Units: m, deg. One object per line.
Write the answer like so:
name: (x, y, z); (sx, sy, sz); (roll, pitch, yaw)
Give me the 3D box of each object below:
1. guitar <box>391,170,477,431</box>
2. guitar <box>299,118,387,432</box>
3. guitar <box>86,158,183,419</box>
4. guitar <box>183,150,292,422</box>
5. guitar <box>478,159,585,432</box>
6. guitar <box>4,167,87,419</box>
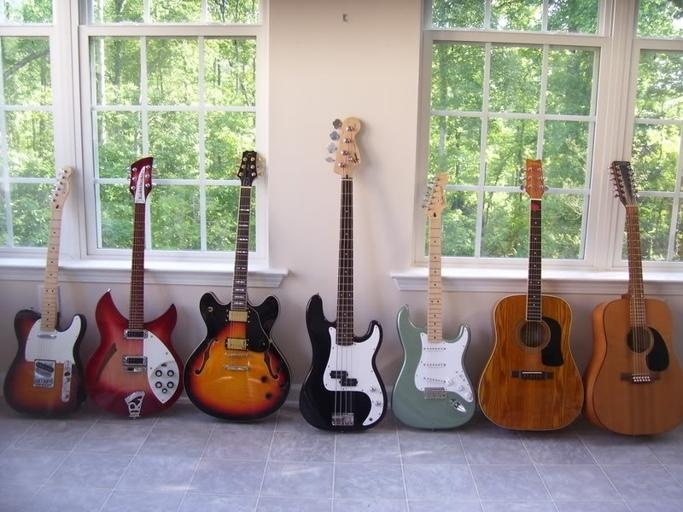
guitar: (0.524, 0.246, 3.698); (0.451, 1.384, 0.315); (1, 9, 9)
guitar: (-0.003, 0.096, 3.699); (0.473, 1.701, 0.387); (-1, 9, -4)
guitar: (-1.195, 0.177, 3.749); (0.524, 1.441, 0.361); (-3, 9, -18)
guitar: (-0.591, 0.164, 3.723); (0.583, 1.474, 0.316); (-1, 9, -6)
guitar: (1.054, 0.220, 3.581); (0.492, 1.446, 0.410); (-8, 12, -44)
guitar: (-1.652, 0.214, 3.683); (0.441, 1.341, 0.358); (-7, 11, -39)
